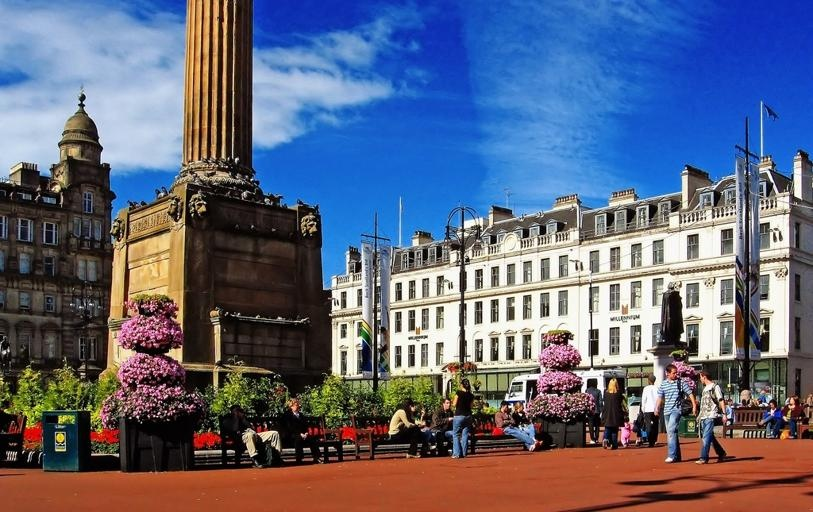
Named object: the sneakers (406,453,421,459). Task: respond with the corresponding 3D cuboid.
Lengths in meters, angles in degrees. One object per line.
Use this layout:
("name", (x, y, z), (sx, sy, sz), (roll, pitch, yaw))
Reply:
("sneakers", (0.328, 7.682, 51.258), (0.531, 0.200, 0.175), (-2, 1, -5))

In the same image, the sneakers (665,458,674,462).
("sneakers", (9.638, 7.466, 48.991), (0.221, 0.203, 0.315), (9, -16, -37))

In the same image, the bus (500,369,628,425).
("bus", (8.471, 7.542, 76.372), (9.235, 4.014, 3.524), (-1, -6, 25))

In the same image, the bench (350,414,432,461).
("bench", (-0.275, 6.835, 51.372), (2.273, 1.897, 1.026), (-1, -14, -3))
